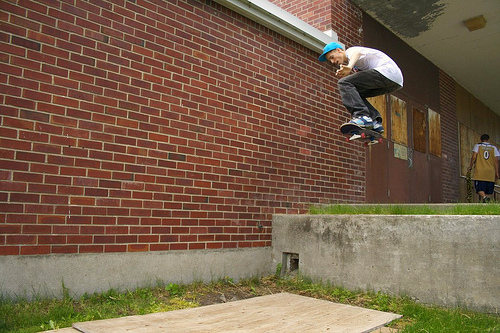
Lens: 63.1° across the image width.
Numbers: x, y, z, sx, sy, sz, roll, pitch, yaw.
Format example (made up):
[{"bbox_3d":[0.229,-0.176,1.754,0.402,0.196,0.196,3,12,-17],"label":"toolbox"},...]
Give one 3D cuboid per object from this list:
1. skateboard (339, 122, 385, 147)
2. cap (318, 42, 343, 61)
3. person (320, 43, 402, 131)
[{"bbox_3d":[1.968,-0.516,6.988,0.358,0.192,1.004,-15,-18,41],"label":"skateboard"},{"bbox_3d":[1.378,-2.031,7.060,0.406,0.202,0.267,-22,-3,-1],"label":"cap"},{"bbox_3d":[1.917,-1.517,7.077,1.375,1.791,1.096,-9,-12,24],"label":"person"}]
